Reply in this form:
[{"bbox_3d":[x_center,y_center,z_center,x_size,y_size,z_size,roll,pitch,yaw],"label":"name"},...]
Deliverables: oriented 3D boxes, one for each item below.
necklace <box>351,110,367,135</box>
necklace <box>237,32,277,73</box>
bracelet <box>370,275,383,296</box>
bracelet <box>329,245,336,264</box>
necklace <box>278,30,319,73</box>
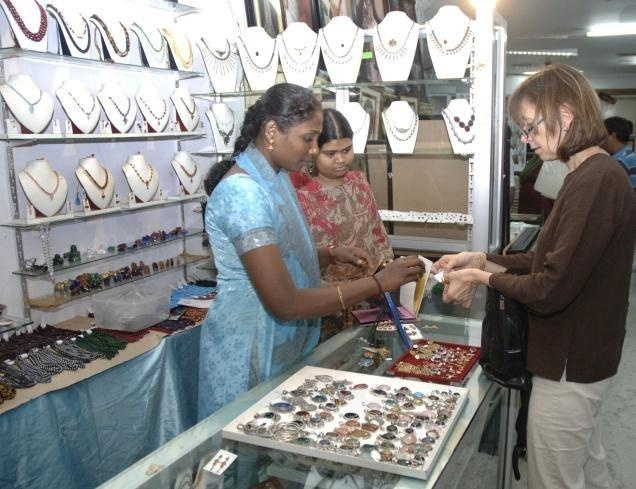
[{"bbox_3d":[0.280,-0.782,2.803,0.039,0.128,0.124,4,39,-11],"label":"necklace"},{"bbox_3d":[-0.395,-1.291,2.839,0.231,0.239,0.229,8,49,-3],"label":"necklace"},{"bbox_3d":[0.171,0.127,1.306,0.013,0.049,0.045,-16,2,5],"label":"bracelet"},{"bbox_3d":[0.061,0.038,1.812,0.034,0.057,0.059,-3,6,1],"label":"bracelet"},{"bbox_3d":[-0.121,-1.217,2.737,0.223,0.234,0.214,1,22,3],"label":"necklace"}]
